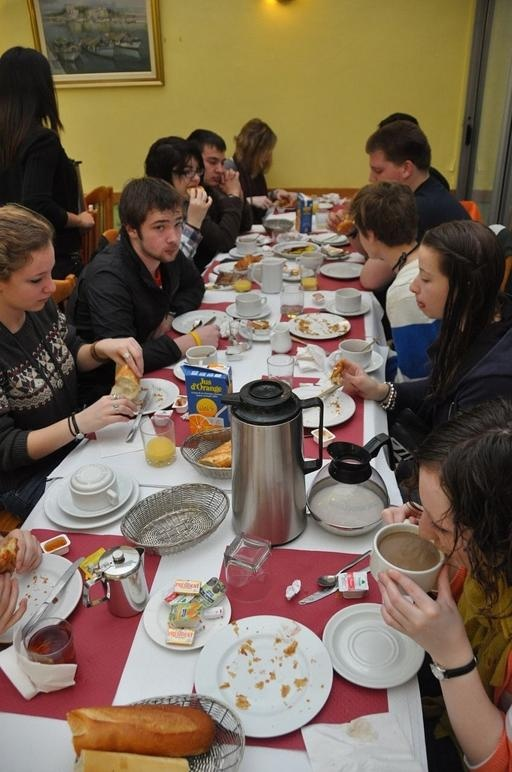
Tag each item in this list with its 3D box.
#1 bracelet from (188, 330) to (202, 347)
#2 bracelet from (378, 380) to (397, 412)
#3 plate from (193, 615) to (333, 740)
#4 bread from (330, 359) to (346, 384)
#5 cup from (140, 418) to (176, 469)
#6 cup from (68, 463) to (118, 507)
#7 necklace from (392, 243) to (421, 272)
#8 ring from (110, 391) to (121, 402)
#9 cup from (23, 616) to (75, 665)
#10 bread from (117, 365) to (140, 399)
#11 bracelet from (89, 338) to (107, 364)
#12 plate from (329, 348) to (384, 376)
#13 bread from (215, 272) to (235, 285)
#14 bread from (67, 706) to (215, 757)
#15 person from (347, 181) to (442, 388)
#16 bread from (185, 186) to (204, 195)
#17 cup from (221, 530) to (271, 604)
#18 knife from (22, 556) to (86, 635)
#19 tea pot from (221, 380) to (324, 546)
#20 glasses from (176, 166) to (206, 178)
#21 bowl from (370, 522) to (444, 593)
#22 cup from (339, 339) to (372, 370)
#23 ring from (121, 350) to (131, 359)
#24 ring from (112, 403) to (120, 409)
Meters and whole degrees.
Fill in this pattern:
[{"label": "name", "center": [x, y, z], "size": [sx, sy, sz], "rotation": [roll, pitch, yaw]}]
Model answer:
[{"label": "bracelet", "center": [-0.211, -0.167, 1.884], "size": [0.043, 0.049, 0.017], "rotation": [-26, -2, -39]}, {"label": "bracelet", "center": [0.388, 0.030, 1.596], "size": [0.066, 0.085, 0.033], "rotation": [0, -16, -33]}, {"label": "plate", "center": [0.014, 0.392, 0.748], "size": [0.183, 0.017, 0.178], "rotation": [17, 30, 37]}, {"label": "bread", "center": [0.230, -0.039, 1.518], "size": [0.024, 0.068, 0.041], "rotation": [9, -6, 7]}, {"label": "cup", "center": [-0.232, 0.129, 1.286], "size": [0.070, 0.101, 0.113], "rotation": [2, 12, -6]}, {"label": "cup", "center": [-0.332, 0.211, 1.116], "size": [0.092, 0.051, 0.070], "rotation": [8, 26, 13]}, {"label": "necklace", "center": [0.637, -0.555, 2.233], "size": [0.124, 0.031, 0.094], "rotation": [-49, -2, -17]}, {"label": "ring", "center": [-0.365, 0.027, 1.393], "size": [0.021, 0.010, 0.028], "rotation": [2, 24, 2]}, {"label": "cup", "center": [-0.288, 0.358, 0.755], "size": [0.049, 0.047, 0.065], "rotation": [1, 27, 0]}, {"label": "bread", "center": [-0.361, -0.020, 1.514], "size": [0.056, 0.038, 0.096], "rotation": [-7, 51, -27]}, {"label": "bracelet", "center": [-0.515, -0.118, 1.752], "size": [0.049, 0.026, 0.057], "rotation": [12, -18, -1]}, {"label": "plate", "center": [0.362, -0.085, 1.736], "size": [0.108, 0.026, 0.108], "rotation": [-18, 31, -23]}, {"label": "bread", "center": [-0.148, -0.528, 2.618], "size": [0.067, 0.034, 0.093], "rotation": [1, 34, 7]}, {"label": "bread", "center": [-0.125, 0.383, 0.596], "size": [0.139, 0.047, 0.068], "rotation": [4, 6, -6]}, {"label": "person", "center": [0.672, -0.287, 2.443], "size": [0.362, 1.220, 0.357], "rotation": [-13, 36, 0]}, {"label": "bread", "center": [-0.313, -1.018, 2.782], "size": [0.066, 0.037, 0.087], "rotation": [-10, 23, -6]}, {"label": "cup", "center": [-0.015, 0.310, 0.951], "size": [0.081, 0.117, 0.087], "rotation": [2, 36, -1]}, {"label": "knife", "center": [-0.314, 0.325, 0.861], "size": [0.024, 0.016, 0.190], "rotation": [38, 26, -4]}, {"label": "tea pot", "center": [0.037, 0.138, 0.979], "size": [0.153, 0.267, 0.140], "rotation": [-3, 21, 1]}, {"label": "glasses", "center": [-0.344, -1.121, 2.805], "size": [0.105, 0.033, 0.108], "rotation": [16, 32, 24]}, {"label": "bowl", "center": [0.232, 0.244, 0.816], "size": [0.113, 0.068, 0.116], "rotation": [0, 31, 0]}, {"label": "cup", "center": [0.324, -0.113, 1.721], "size": [0.112, 0.084, 0.088], "rotation": [-4, 35, -2]}, {"label": "ring", "center": [-0.383, -0.090, 1.584], "size": [0.007, 0.027, 0.028], "rotation": [18, 53, 10]}, {"label": "ring", "center": [-0.350, 0.048, 1.338], "size": [0.012, 0.020, 0.013], "rotation": [1, -6, -6]}]
